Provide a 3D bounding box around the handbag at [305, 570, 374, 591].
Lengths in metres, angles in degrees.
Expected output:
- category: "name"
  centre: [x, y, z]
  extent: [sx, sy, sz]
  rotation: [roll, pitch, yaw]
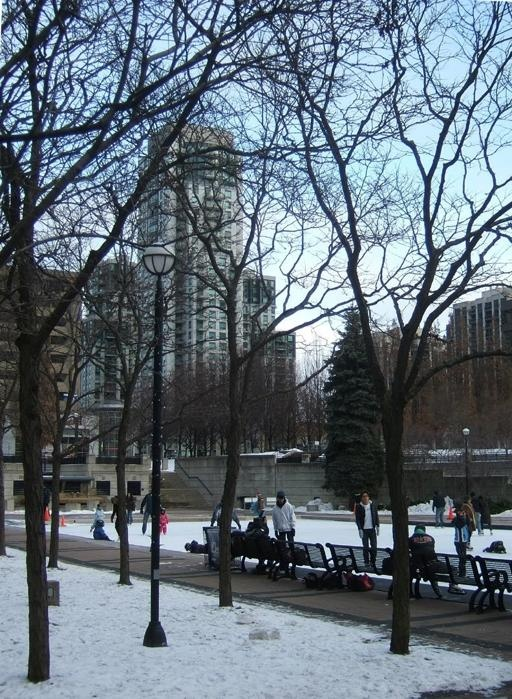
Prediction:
- category: "handbag"
  centre: [1.389, 3.806, 14.303]
  extent: [0.694, 0.249, 0.483]
  rotation: [-5, -23, 21]
